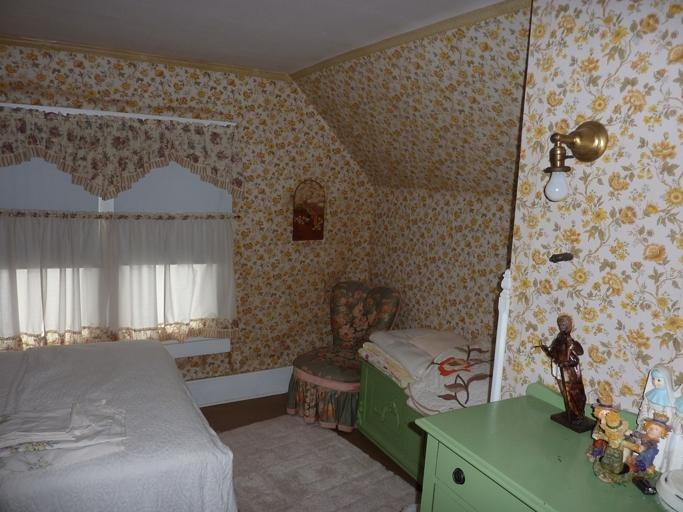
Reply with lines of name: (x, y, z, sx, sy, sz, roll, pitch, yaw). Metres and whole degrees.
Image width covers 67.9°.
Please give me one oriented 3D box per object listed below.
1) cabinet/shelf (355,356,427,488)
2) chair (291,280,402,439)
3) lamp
cabinet/shelf: (0.401, 1.302, 3.963, 0.504, 0.612, 0.835, 0, 15, -33)
chair: (0.028, 0.916, 4.858, 0.859, 1.141, 1.013, 9, 12, 38)
lamp: (1.095, -0.454, 2.390, 0.269, 0.404, 0.240, 3, 13, 29)
